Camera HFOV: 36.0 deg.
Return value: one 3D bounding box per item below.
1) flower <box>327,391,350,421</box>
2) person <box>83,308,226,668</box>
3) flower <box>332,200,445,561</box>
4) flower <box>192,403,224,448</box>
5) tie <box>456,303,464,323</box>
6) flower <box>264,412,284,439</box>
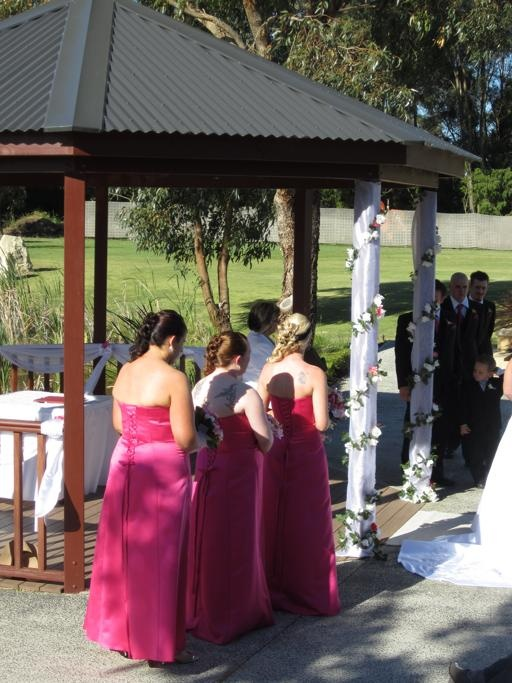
[{"bbox_3d":[0.458,0.369,4.475,0.136,0.148,0.153,-10,-28,2],"label":"flower"},{"bbox_3d":[-0.511,0.650,3.635,0.532,1.575,0.341,6,10,33],"label":"person"},{"bbox_3d":[1.023,0.111,5.631,0.525,2.442,1.714,4,9,18],"label":"flower"},{"bbox_3d":[-0.230,0.399,3.664,0.089,0.165,0.170,-26,38,-13],"label":"flower"},{"bbox_3d":[1.774,-0.253,6.810,0.100,0.153,0.041,-1,3,-1],"label":"tie"},{"bbox_3d":[0.097,0.434,4.083,0.053,0.125,0.132,-17,-4,-2],"label":"flower"}]
